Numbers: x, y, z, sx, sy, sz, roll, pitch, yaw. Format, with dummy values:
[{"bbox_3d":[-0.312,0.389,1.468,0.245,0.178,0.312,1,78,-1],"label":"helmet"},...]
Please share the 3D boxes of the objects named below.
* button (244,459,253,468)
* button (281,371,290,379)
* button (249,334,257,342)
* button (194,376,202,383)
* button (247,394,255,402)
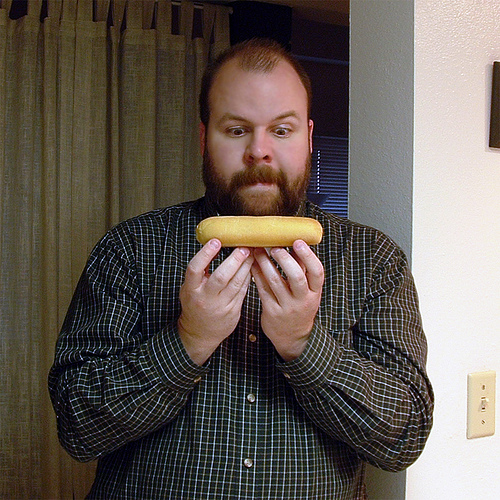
[{"bbox_3d":[-0.004,0.438,1.387,0.014,0.015,0.004,-1,-10,-5],"label":"button"},{"bbox_3d":[0.071,0.249,1.353,0.013,0.017,0.034,1,2,-14],"label":"button"},{"bbox_3d":[0.007,0.193,1.478,0.017,0.015,0.009,2,2,0],"label":"button"},{"bbox_3d":[-0.108,0.267,1.386,0.014,0.006,0.021,-4,-18,-17],"label":"button"},{"bbox_3d":[0.003,0.313,1.429,0.012,0.013,0.005,2,-19,1],"label":"button"}]
